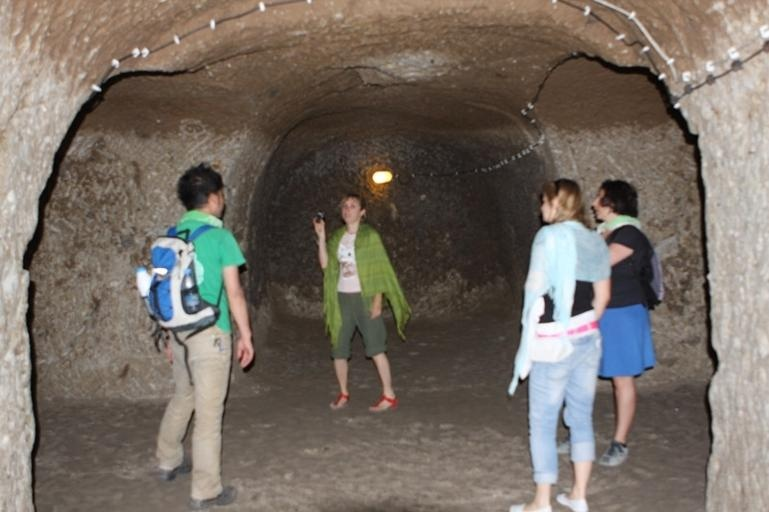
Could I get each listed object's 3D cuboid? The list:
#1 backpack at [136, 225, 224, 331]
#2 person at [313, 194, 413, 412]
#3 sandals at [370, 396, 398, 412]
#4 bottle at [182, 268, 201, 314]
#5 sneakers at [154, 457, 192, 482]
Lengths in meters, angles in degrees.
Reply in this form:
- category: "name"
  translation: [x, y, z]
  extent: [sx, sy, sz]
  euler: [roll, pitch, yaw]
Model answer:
- category: "backpack"
  translation: [-1.416, 0.186, 5.634]
  extent: [0.542, 0.690, 0.416]
  euler: [1, 7, 41]
- category: "person"
  translation: [-0.193, 0.398, 6.949]
  extent: [0.724, 1.815, 0.463]
  euler: [0, 13, 3]
- category: "sandals"
  translation: [-0.011, 1.255, 7.067]
  extent: [0.206, 0.088, 0.112]
  euler: [-4, 3, -27]
- category: "bottle"
  translation: [-1.291, 0.229, 5.439]
  extent: [0.111, 0.281, 0.081]
  euler: [-8, 14, -28]
- category: "sneakers"
  translation: [-1.522, 1.526, 5.896]
  extent: [0.103, 0.089, 0.217]
  euler: [7, 18, 33]
